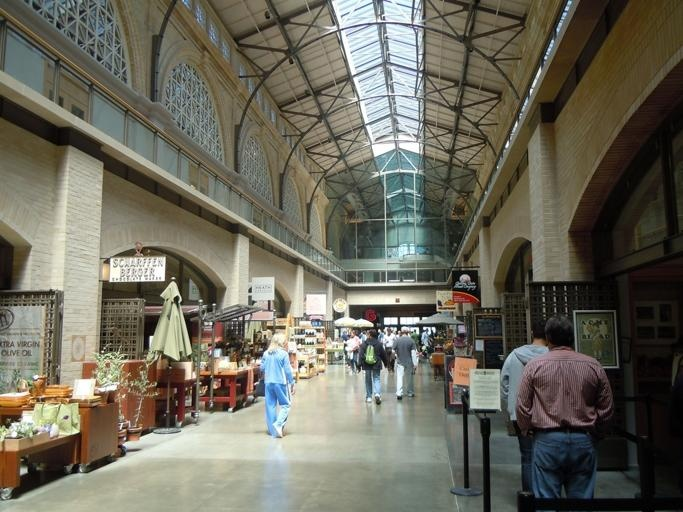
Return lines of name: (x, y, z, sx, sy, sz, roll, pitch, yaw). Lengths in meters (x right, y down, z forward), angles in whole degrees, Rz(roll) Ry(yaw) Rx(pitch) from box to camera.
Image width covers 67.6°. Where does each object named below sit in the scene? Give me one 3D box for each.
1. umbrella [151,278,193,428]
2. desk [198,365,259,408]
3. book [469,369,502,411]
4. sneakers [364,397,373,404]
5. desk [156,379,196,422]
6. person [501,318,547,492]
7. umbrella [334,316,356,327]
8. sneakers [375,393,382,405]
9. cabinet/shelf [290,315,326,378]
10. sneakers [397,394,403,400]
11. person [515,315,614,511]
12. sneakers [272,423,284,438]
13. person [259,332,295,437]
umbrella: (-3.603, 2.063, 10.728, 0.827, 3.135, 1.164, 3, -11, -22)
desk: (-3.105, 3.578, 13.874, 1.163, 1.101, 2.896, -2, -12, 0)
book: (1.898, 1.765, 6.729, 0.498, 0.701, 0.054, 2, -24, 9)
sneakers: (0.762, 4.026, 14.285, 0.222, 0.192, 0.241, -1, -7, 7)
desk: (-3.695, 3.179, 11.277, 0.670, 0.824, 1.200, -1, -8, 2)
person: (2.352, 1.941, 6.317, 0.690, 2.216, 0.631, -1, -15, 30)
umbrella: (0.189, 3.809, 29.692, 0.945, 0.437, 0.977, 11, -16, -42)
sneakers: (0.998, 3.930, 14.013, 0.080, 0.280, 0.120, -4, 21, 5)
cabinet/shelf: (-1.576, 4.254, 23.642, 0.971, 3.038, 3.014, 0, -5, 6)
sneakers: (1.691, 4.049, 14.683, 0.140, 0.184, 0.124, -1, -11, -1)
person: (2.200, 1.619, 5.013, 0.888, 1.412, 0.307, -5, -11, 20)
sneakers: (-1.239, 3.400, 10.044, 0.150, 0.292, 0.139, -2, -1, 20)
person: (-1.337, 2.625, 10.582, 0.646, 2.037, 1.034, 0, -11, -6)
